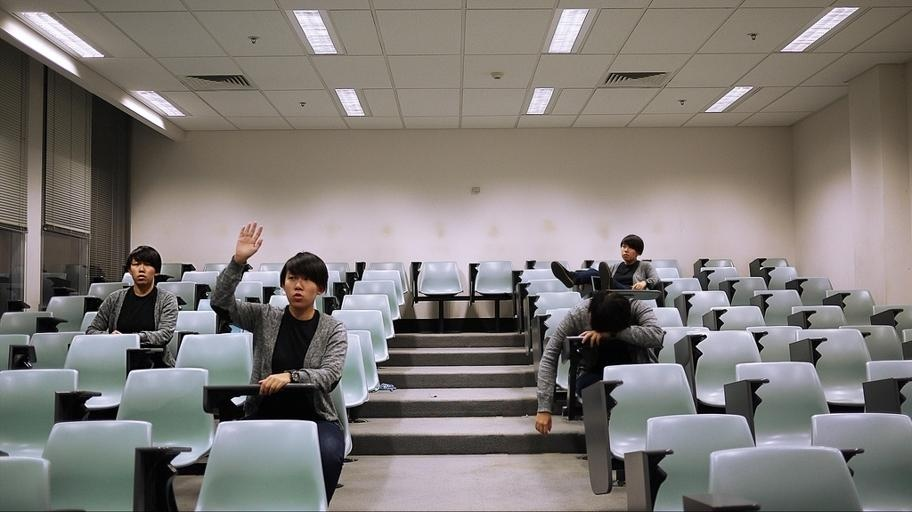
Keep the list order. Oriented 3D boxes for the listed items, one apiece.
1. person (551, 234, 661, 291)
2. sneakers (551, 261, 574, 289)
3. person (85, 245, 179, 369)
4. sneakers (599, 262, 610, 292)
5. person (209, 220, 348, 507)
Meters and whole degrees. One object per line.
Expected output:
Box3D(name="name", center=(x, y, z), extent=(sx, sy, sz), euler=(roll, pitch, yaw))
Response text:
Box3D(name="person", center=(1.933, 0.120, 7.259), extent=(0.830, 0.804, 1.514), euler=(2, -6, 42))
Box3D(name="sneakers", center=(1.393, 0.264, 7.745), extent=(0.148, 0.359, 0.154), euler=(-46, -3, 40))
Box3D(name="person", center=(-3.680, 0.588, 6.572), extent=(1.147, 1.410, 0.996), euler=(-1, -21, -10))
Box3D(name="sneakers", center=(1.696, 0.252, 6.694), extent=(0.117, 0.320, 0.138), euler=(-3, 0, 37))
Box3D(name="person", center=(-1.409, 0.832, 4.692), extent=(1.078, 2.182, 0.456), euler=(3, -6, -10))
